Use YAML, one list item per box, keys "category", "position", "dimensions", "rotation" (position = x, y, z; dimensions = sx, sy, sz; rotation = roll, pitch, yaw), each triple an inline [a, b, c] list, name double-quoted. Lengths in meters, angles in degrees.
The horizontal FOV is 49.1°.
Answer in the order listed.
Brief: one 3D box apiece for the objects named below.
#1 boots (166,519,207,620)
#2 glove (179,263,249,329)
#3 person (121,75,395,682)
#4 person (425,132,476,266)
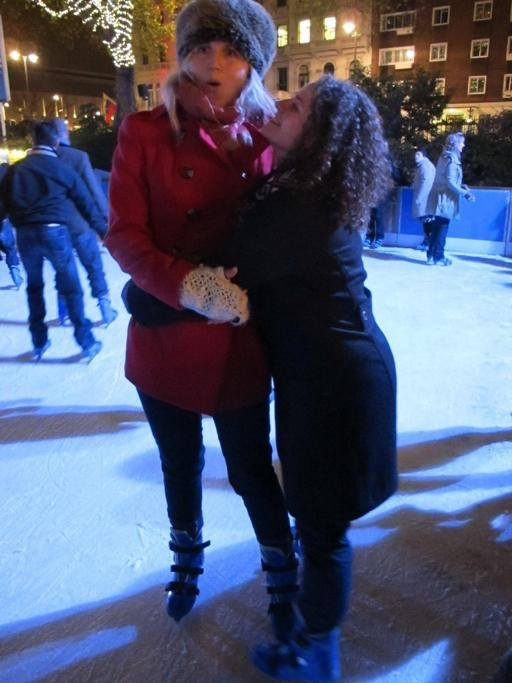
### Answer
- category: "boots"
  position: [-0.221, 0.713, 1.777]
  dimensions: [0.105, 0.281, 0.131]
  rotation: [0, -11, 10]
- category: "glove"
  position: [-0.094, -0.099, 1.237]
  dimensions: [0.151, 0.133, 0.074]
  rotation: [-4, 15, -8]
- category: "person"
  position: [0.153, 0.160, 1.370]
  dimensions: [0.381, 1.501, 0.259]
  rotation: [1, 15, 10]
- category: "person"
  position: [2.925, -2.145, 8.483]
  dimensions: [0.599, 1.913, 0.547]
  rotation: [1, 15, 13]
